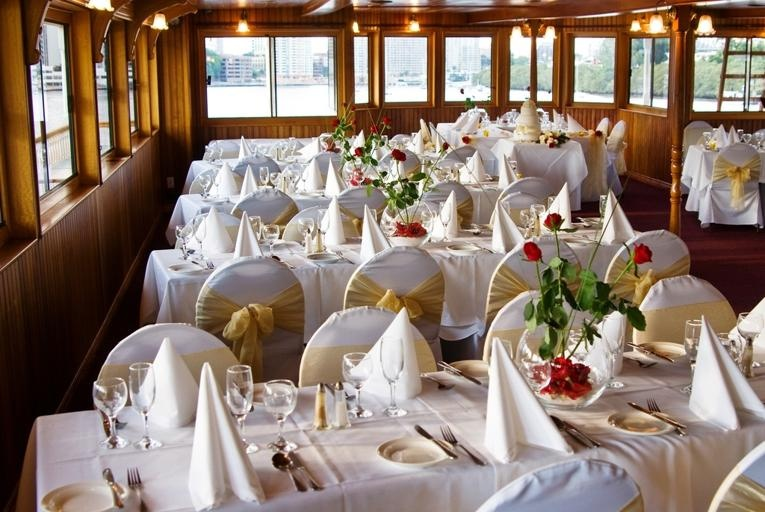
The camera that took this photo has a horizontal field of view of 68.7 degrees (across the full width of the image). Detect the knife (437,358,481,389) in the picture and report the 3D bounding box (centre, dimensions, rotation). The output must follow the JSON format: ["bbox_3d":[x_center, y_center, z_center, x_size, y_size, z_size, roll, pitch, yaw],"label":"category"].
[{"bbox_3d":[0.346,0.538,2.683,0.063,0.029,0.484,-8,11,-17],"label":"knife"}]

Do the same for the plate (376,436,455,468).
[{"bbox_3d":[0.112,0.715,2.044,0.262,0.040,0.163,-3,11,-2],"label":"plate"}]

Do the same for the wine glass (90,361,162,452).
[{"bbox_3d":[-0.962,0.558,2.161,0.232,0.300,0.247,-4,10,-11],"label":"wine glass"}]

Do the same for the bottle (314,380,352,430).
[{"bbox_3d":[-0.201,0.615,2.279,0.147,0.202,0.095,-1,1,-14],"label":"bottle"}]

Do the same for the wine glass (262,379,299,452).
[{"bbox_3d":[-0.388,0.583,2.163,0.112,0.239,0.268,-4,11,-10],"label":"wine glass"}]

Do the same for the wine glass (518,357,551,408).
[{"bbox_3d":[0.640,0.528,2.382,0.141,0.198,0.173,-2,1,-3],"label":"wine glass"}]

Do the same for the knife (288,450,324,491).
[{"bbox_3d":[-0.272,0.746,1.953,0.048,0.016,0.298,-1,11,-19],"label":"knife"}]

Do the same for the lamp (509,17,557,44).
[{"bbox_3d":[3.556,-5.344,13.209,0.783,0.673,0.879,-2,14,-12],"label":"lamp"}]

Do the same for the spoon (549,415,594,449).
[{"bbox_3d":[0.726,0.679,2.193,0.061,0.027,0.295,-11,17,-11],"label":"spoon"}]

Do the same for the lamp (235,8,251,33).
[{"bbox_3d":[-2.736,-4.652,11.054,0.256,0.475,0.691,-4,11,-13],"label":"lamp"}]
